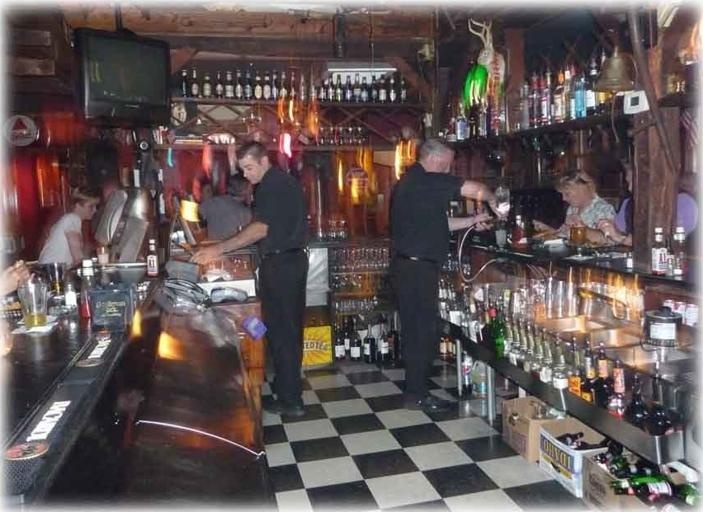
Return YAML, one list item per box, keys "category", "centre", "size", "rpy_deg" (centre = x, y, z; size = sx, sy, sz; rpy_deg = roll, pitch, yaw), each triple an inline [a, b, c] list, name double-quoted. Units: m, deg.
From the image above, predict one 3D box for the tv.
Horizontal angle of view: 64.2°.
- category: "tv"
  centre: [-2.000, -1.595, 5.018]
  size: [0.244, 0.783, 0.838]
  rpy_deg: [5, 13, 32]

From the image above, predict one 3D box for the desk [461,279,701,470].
- category: "desk"
  centre: [1.562, 0.675, 3.366]
  size: [0.751, 0.363, 1.492]
  rpy_deg: [-3, 13, -13]

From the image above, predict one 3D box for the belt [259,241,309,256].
- category: "belt"
  centre: [-0.547, -0.049, 4.530]
  size: [0.379, 0.084, 0.134]
  rpy_deg: [-4, 11, -8]

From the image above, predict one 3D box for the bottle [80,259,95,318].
- category: "bottle"
  centre: [-1.608, 0.190, 3.425]
  size: [0.099, 0.308, 0.365]
  rpy_deg: [-7, 12, -26]

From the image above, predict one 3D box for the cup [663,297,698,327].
- category: "cup"
  centre: [1.940, 0.332, 3.336]
  size: [0.074, 0.142, 0.264]
  rpy_deg: [-5, 11, -14]

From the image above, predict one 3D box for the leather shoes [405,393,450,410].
- category: "leather shoes"
  centre: [0.612, 1.173, 4.611]
  size: [0.238, 0.079, 0.154]
  rpy_deg: [-2, 2, 0]

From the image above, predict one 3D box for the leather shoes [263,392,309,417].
- category: "leather shoes"
  centre: [-0.549, 1.237, 4.674]
  size: [0.349, 0.173, 0.149]
  rpy_deg: [8, 7, 9]

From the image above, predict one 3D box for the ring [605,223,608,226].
- category: "ring"
  centre: [1.974, -0.245, 4.372]
  size: [0.014, 0.013, 0.003]
  rpy_deg: [-1, -12, -1]

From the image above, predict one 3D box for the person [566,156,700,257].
- category: "person"
  centre: [2.238, -0.461, 4.727]
  size: [0.881, 0.678, 1.477]
  rpy_deg: [0, 11, 10]

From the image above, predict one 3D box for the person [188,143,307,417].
- category: "person"
  centre: [-0.660, 0.303, 4.541]
  size: [0.719, 1.975, 0.442]
  rpy_deg: [-4, 11, -13]

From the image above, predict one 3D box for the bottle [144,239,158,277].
- category: "bottle"
  centre: [-1.562, 0.007, 4.410]
  size: [0.082, 0.259, 0.357]
  rpy_deg: [-6, 12, -20]

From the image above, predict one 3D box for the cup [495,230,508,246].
- category: "cup"
  centre: [1.331, -0.164, 4.999]
  size: [0.128, 0.128, 0.105]
  rpy_deg: [1, 5, 28]

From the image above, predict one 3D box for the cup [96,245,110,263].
- category: "cup"
  centre: [-2.210, -0.013, 5.015]
  size: [0.114, 0.133, 0.118]
  rpy_deg: [4, 22, -2]

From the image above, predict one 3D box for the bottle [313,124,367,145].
- category: "bottle"
  centre: [-0.145, -1.599, 7.560]
  size: [0.479, 0.161, 0.344]
  rpy_deg: [2, 7, 15]

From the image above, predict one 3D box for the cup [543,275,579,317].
- category: "cup"
  centre: [1.509, 0.298, 4.057]
  size: [0.227, 0.308, 0.230]
  rpy_deg: [-1, 2, 0]

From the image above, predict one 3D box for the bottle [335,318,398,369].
- category: "bottle"
  centre: [0.171, 0.926, 5.813]
  size: [0.431, 0.413, 0.152]
  rpy_deg: [2, 8, 12]

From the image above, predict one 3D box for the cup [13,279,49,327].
- category: "cup"
  centre: [-1.753, 0.253, 3.121]
  size: [0.131, 0.254, 0.206]
  rpy_deg: [-8, 13, -31]
